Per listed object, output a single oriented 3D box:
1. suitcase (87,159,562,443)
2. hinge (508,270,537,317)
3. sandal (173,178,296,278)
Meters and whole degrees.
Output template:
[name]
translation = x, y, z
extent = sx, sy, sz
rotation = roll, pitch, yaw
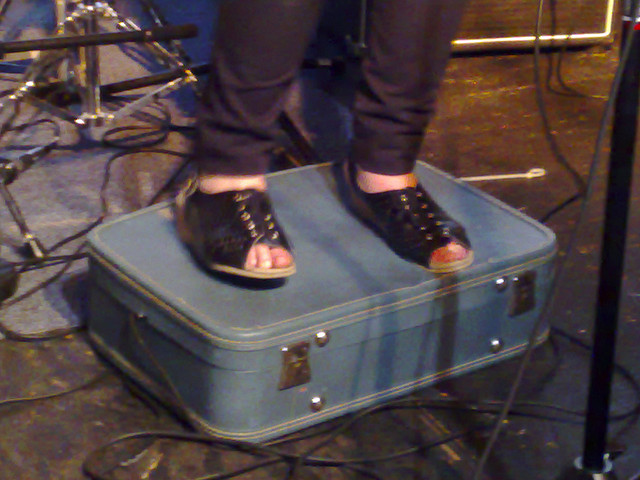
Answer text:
[suitcase]
translation = -0.001, 0.092, 1.289
extent = 0.845, 0.253, 0.492
rotation = -17, 40, -22
[hinge]
translation = 0.380, 0.099, 1.262
extent = 0.083, 0.078, 0.019
rotation = -11, 20, -41
[sandal]
translation = -0.161, -0.023, 1.182
extent = 0.129, 0.088, 0.246
rotation = -11, 30, -35
